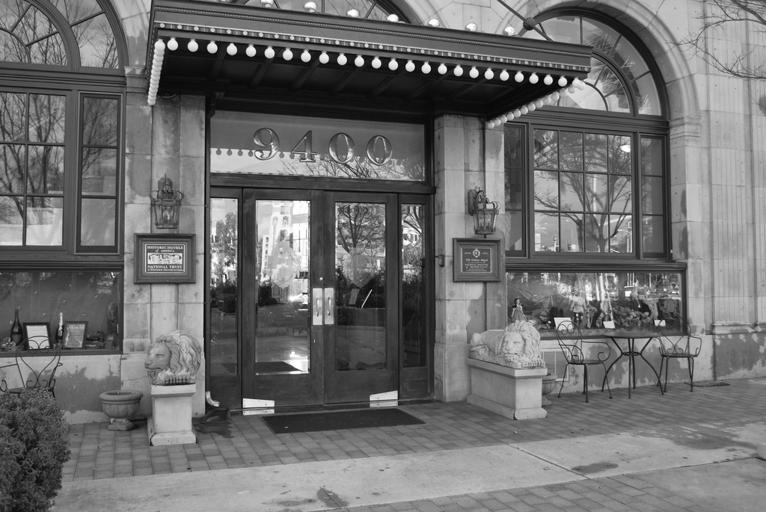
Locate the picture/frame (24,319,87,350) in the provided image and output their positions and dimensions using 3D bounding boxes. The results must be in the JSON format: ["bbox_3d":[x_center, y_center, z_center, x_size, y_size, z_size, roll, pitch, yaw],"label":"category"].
[{"bbox_3d":[-4.710,1.139,10.626,0.617,0.431,0.147,-2,1,-20],"label":"picture/frame"}]

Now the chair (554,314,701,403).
[{"bbox_3d":[4.155,1.681,12.656,2.788,1.262,0.784,0,-3,-19],"label":"chair"}]

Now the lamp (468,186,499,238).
[{"bbox_3d":[1.620,-0.741,12.008,0.439,0.868,0.453,-1,-10,14],"label":"lamp"}]

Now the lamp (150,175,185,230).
[{"bbox_3d":[-3.101,-0.772,10.715,0.447,0.813,0.161,0,-3,-16],"label":"lamp"}]
